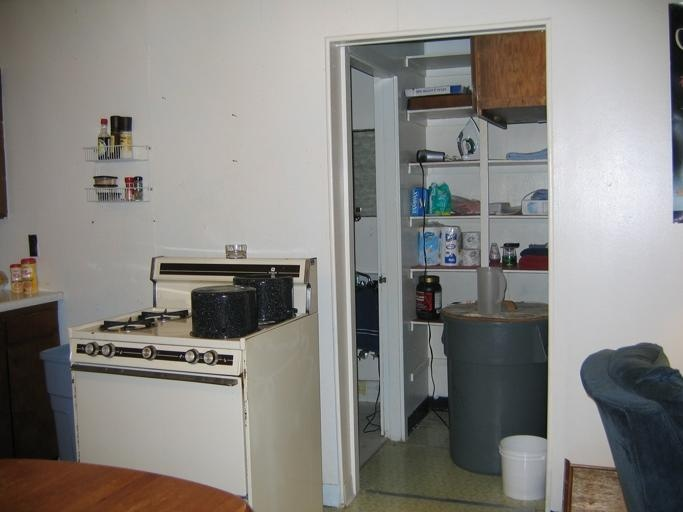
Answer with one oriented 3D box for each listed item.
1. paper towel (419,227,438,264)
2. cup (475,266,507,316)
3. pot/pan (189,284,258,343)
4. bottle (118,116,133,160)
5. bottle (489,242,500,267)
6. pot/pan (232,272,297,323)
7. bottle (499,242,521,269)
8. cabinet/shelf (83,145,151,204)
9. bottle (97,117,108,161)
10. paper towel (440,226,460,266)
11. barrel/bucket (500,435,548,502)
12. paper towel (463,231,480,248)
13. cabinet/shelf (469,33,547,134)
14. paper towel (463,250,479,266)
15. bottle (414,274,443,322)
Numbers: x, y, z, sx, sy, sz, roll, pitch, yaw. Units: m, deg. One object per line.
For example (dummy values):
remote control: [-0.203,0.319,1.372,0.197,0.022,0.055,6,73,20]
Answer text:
paper towel: [0.628,-0.078,4.243,0.155,0.278,0.102,-5,5,-32]
cup: [0.878,0.193,3.437,0.152,0.275,0.218,-1,4,15]
pot/pan: [-0.539,0.235,2.571,0.224,0.153,0.227,-2,4,-29]
bottle: [-1.239,-0.679,3.307,0.075,0.235,0.038,-4,4,-22]
bottle: [1.096,-0.016,4.153,0.078,0.151,0.155,-1,4,16]
pot/pan: [-0.361,0.195,2.750,0.222,0.183,0.231,-1,6,-3]
bottle: [1.184,-0.003,4.130,0.133,0.203,0.195,0,-4,9]
cabinet/shelf: [-1.297,-0.483,3.369,0.329,0.319,0.111,1,1,20]
bottle: [-1.399,-0.683,3.371,0.068,0.241,0.132,-4,4,-24]
paper towel: [0.796,-0.079,4.199,0.160,0.285,0.150,-2,4,-1]
barrel/bucket: [0.988,1.156,3.302,0.291,0.290,0.297,-2,7,0]
paper towel: [0.929,-0.124,4.174,0.105,0.107,0.110,1,4,19]
cabinet/shelf: [0.912,-0.941,3.230,0.359,0.527,0.469,-2,0,8]
paper towel: [0.935,0.012,4.222,0.105,0.106,0.110,-1,-2,-1]
bottle: [0.595,0.297,4.242,0.257,0.456,0.271,1,2,0]
